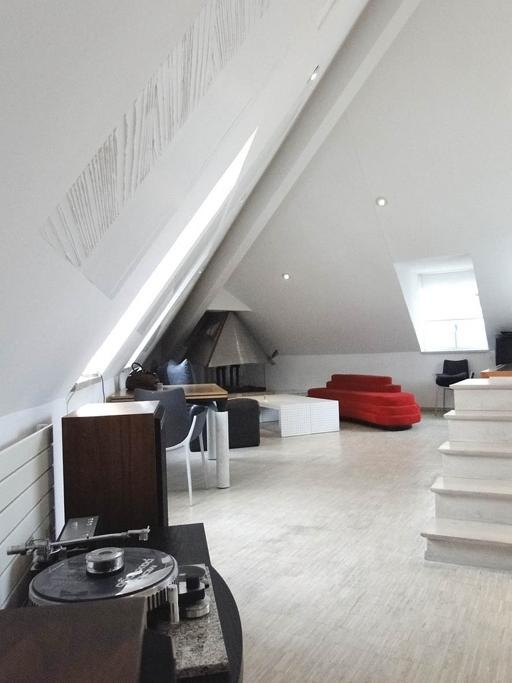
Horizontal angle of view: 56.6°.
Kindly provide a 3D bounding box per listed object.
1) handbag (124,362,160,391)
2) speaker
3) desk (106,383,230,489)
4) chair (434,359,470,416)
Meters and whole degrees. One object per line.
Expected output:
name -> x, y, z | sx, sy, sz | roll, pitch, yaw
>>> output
handbag -> -1.210, 0.370, 4.985 | 0.293, 0.257, 0.151 | -3, -14, 11
speaker -> -0.544, 0.441, 1.878 | 0.324, 0.621, 0.657 | -3, -3, -10
desk -> -0.628, 0.719, 3.617 | 0.488, 0.817, 0.512 | 0, 6, 3
chair -> 3.378, 0.736, 8.089 | 0.569, 0.903, 0.834 | -8, -7, 21
